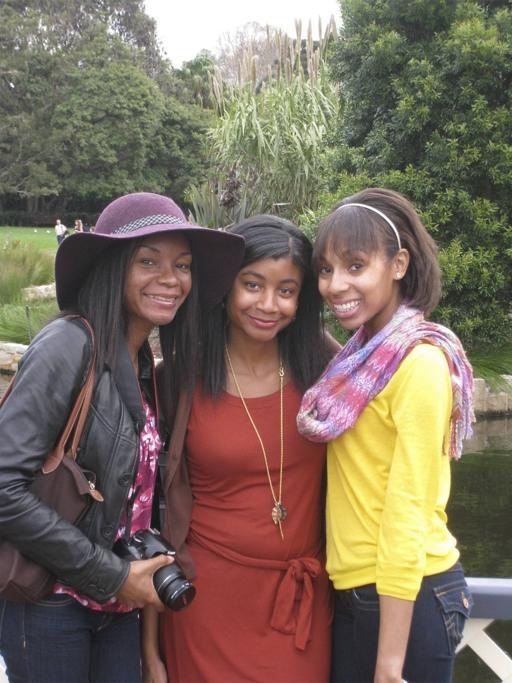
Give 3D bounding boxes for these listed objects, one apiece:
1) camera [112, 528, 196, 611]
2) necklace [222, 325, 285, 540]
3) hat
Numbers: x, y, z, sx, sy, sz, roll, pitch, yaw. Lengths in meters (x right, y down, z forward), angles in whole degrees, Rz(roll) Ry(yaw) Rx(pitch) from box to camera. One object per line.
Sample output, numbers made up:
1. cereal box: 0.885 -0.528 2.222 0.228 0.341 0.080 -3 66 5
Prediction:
1. camera: -0.278 0.646 2.091 0.231 0.134 0.215 39 30 27
2. necklace: 0.033 0.349 2.464 0.164 0.573 0.017 -3 -15 -13
3. hat: -0.334 -0.321 2.221 0.474 0.249 0.475 2 -25 -41
